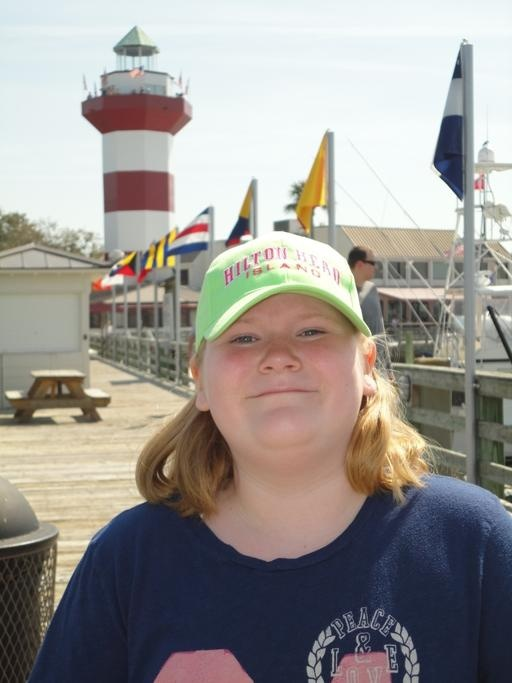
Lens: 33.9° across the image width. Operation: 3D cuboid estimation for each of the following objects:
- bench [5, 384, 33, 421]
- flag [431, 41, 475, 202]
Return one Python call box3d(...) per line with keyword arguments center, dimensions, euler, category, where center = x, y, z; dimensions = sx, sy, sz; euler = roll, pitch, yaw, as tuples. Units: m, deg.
box3d(center=(-3.269, 0.814, 11.681), dimensions=(0.350, 0.343, 0.685), euler=(-1, 11, -15), category="bench")
box3d(center=(1.264, -1.406, 5.521), dimensions=(0.212, 0.990, 0.448), euler=(1, -2, 11), category="flag")
